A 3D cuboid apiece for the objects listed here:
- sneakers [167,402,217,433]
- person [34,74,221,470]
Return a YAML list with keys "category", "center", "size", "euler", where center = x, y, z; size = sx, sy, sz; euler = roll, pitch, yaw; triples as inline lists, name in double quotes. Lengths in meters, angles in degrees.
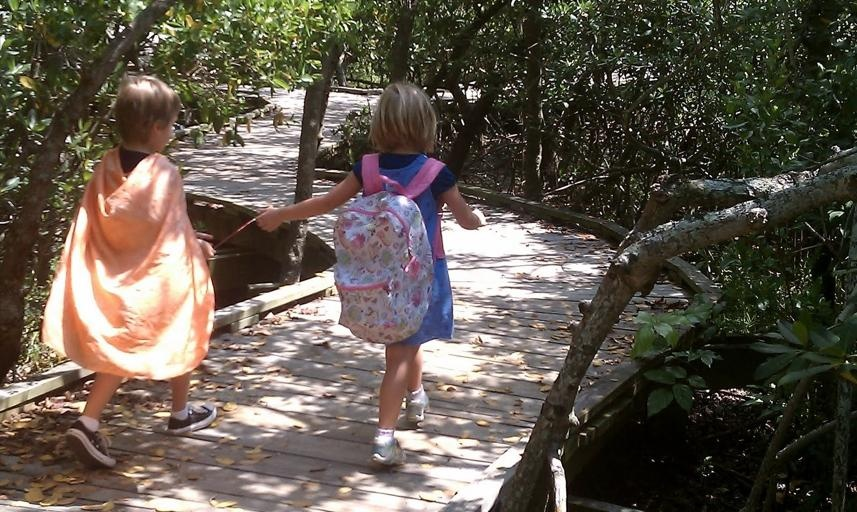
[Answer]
- category: "sneakers"
  center: [-1.594, 1.088, 4.132]
  size: [0.133, 0.132, 0.331]
  euler: [9, 15, 37]
- category: "person"
  center: [-1.807, -0.177, 3.708]
  size: [0.885, 1.821, 0.463]
  euler: [9, 10, 7]
